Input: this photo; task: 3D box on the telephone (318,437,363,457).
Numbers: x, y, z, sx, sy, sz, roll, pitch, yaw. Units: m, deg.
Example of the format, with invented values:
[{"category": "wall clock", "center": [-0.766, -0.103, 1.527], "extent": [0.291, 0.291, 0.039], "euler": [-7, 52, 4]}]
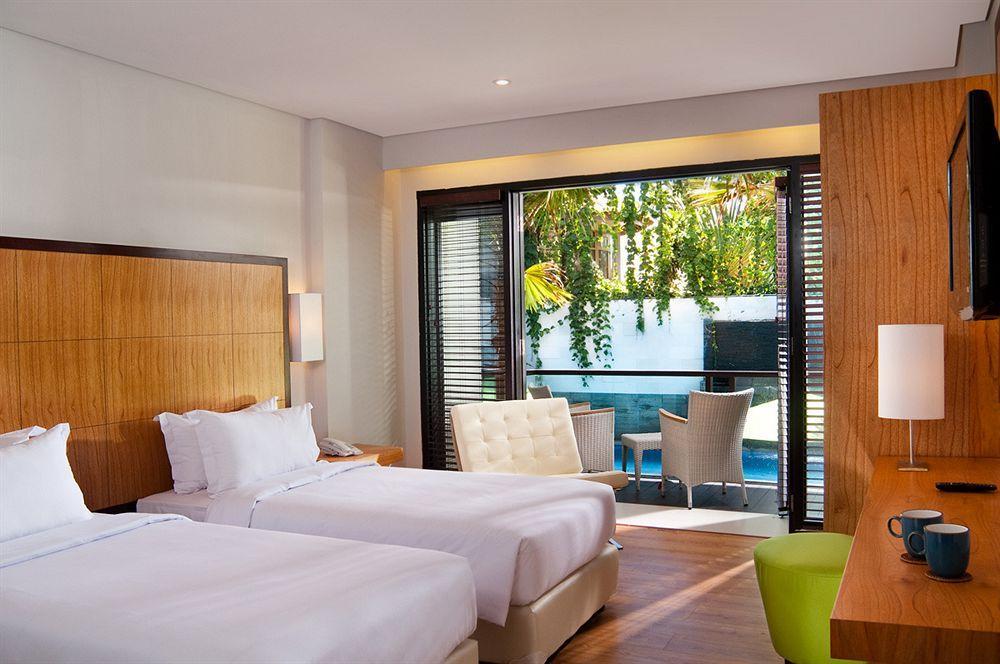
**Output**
[{"category": "telephone", "center": [-1.313, 0.948, 5.707], "extent": [0.374, 0.097, 0.225], "euler": [1, 7, -4]}]

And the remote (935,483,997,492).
[{"category": "remote", "center": [2.232, 0.745, 3.333], "extent": [0.155, 0.025, 0.090], "euler": [-2, -7, 23]}]

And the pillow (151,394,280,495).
[{"category": "pillow", "center": [-1.997, 0.808, 4.826], "extent": [0.644, 0.673, 0.210], "euler": [-2, -2, -29]}]

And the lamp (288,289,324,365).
[{"category": "lamp", "center": [-1.640, -0.037, 5.964], "extent": [0.333, 0.604, 0.234], "euler": [-3, 9, -31]}]

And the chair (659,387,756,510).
[{"category": "chair", "center": [1.989, 1.104, 6.748], "extent": [0.884, 1.148, 0.444], "euler": [3, 8, 11]}]
